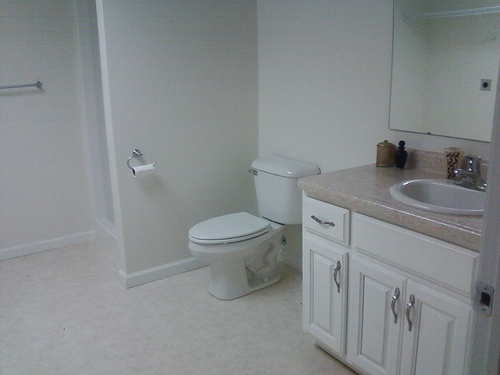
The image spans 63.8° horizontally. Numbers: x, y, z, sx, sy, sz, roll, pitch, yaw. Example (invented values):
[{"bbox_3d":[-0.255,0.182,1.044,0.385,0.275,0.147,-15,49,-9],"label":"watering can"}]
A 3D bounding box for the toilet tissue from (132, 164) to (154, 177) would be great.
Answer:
[{"bbox_3d":[-0.742,-0.116,2.816,0.134,0.044,0.072,-11,16,-40],"label":"toilet tissue"}]

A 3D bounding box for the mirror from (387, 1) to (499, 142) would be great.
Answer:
[{"bbox_3d":[0.969,-0.617,2.071,0.130,0.701,0.613,-23,27,-37],"label":"mirror"}]

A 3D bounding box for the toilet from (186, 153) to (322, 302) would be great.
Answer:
[{"bbox_3d":[-0.043,0.306,2.889,0.957,0.872,0.562,-13,22,-40],"label":"toilet"}]

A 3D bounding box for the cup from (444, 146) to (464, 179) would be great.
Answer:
[{"bbox_3d":[1.029,-0.125,2.043,0.086,0.146,0.137,5,22,25],"label":"cup"}]

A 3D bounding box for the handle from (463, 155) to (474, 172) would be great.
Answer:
[{"bbox_3d":[1.046,-0.120,1.923,0.053,0.061,0.025,7,-2,-19],"label":"handle"}]

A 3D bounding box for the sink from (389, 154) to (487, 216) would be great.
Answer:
[{"bbox_3d":[0.862,0.036,1.884,0.375,0.182,0.342,-11,22,-30],"label":"sink"}]

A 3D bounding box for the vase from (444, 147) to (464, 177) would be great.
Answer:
[{"bbox_3d":[1.033,-0.118,2.039,0.106,0.140,0.093,-7,10,-44],"label":"vase"}]

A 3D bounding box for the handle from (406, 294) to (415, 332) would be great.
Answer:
[{"bbox_3d":[0.692,0.546,1.750,0.030,0.166,0.048,4,24,23],"label":"handle"}]

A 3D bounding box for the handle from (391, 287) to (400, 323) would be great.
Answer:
[{"bbox_3d":[0.645,0.530,1.796,0.031,0.171,0.052,9,26,31],"label":"handle"}]

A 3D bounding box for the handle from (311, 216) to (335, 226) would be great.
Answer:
[{"bbox_3d":[0.374,0.176,2.042,0.132,0.031,0.027,15,65,46],"label":"handle"}]

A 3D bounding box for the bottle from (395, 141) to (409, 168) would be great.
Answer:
[{"bbox_3d":[0.828,-0.177,2.213,0.055,0.149,0.044,-8,22,-8],"label":"bottle"}]

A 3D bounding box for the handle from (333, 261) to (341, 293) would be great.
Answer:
[{"bbox_3d":[0.441,0.453,2.025,0.031,0.170,0.041,8,25,29],"label":"handle"}]
